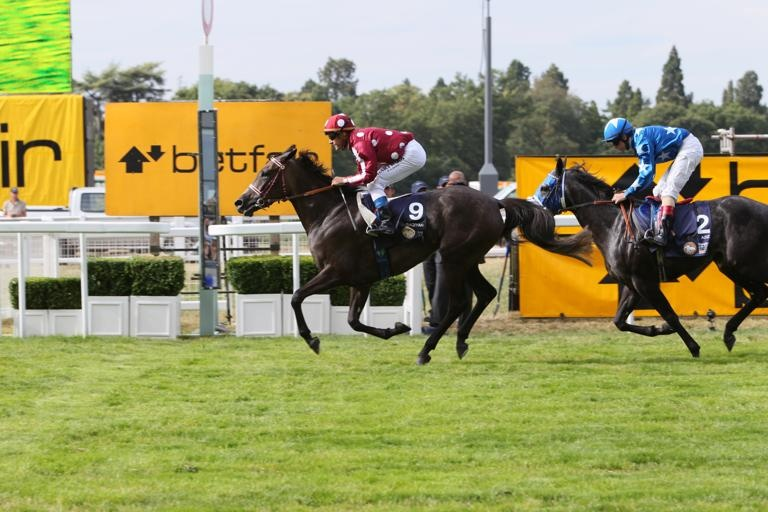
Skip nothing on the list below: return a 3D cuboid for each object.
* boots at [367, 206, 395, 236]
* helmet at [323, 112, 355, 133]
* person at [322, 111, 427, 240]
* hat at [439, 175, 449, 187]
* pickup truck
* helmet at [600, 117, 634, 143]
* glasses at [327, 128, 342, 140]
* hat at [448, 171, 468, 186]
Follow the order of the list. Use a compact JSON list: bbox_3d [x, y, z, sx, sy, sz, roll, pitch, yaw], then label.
[{"bbox_3d":[-0.019,-0.387,19.642,0.451,0.342,0.205,3,-15,-1],"label":"boots"},{"bbox_3d":[-0.520,-1.524,19.933,0.338,0.179,0.215,9,7,-4],"label":"helmet"},{"bbox_3d":[-0.082,-0.944,19.873,1.140,1.358,0.573,-2,3,-2],"label":"person"},{"bbox_3d":[0.732,-0.921,21.507,0.119,0.076,0.161,1,-14,-15],"label":"hat"},{"bbox_3d":[-3.602,-0.578,23.118,2.933,1.030,1.378,1,-2,-9],"label":"pickup truck"},{"bbox_3d":[2.727,-1.492,20.194,0.389,0.187,0.243,-26,15,-7],"label":"helmet"},{"bbox_3d":[-0.583,-1.392,19.889,0.129,0.070,0.143,6,22,8],"label":"glasses"},{"bbox_3d":[0.888,-0.930,20.933,0.224,0.199,0.231,2,2,3],"label":"hat"}]
